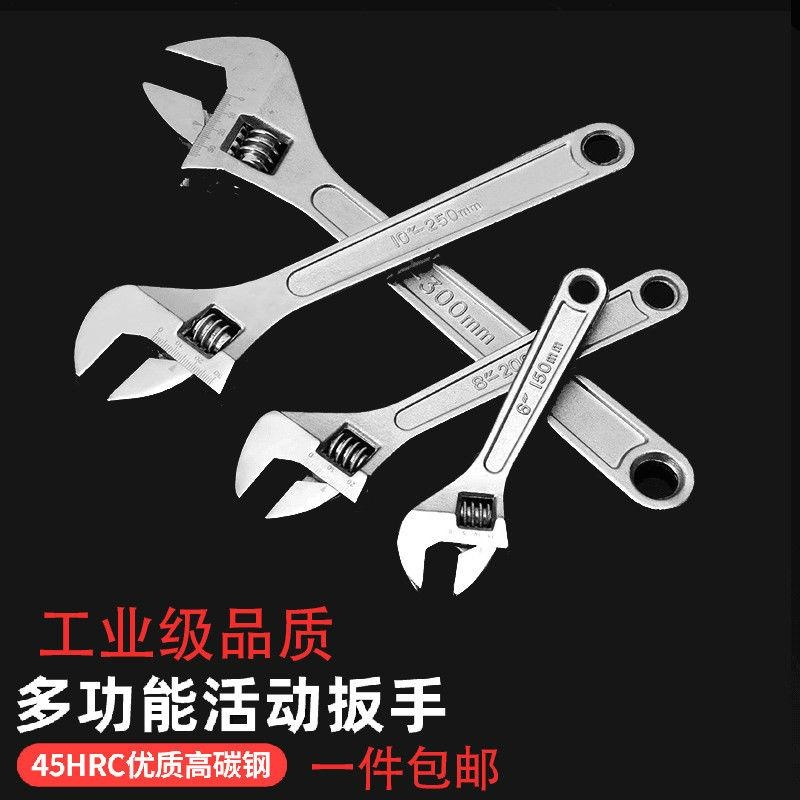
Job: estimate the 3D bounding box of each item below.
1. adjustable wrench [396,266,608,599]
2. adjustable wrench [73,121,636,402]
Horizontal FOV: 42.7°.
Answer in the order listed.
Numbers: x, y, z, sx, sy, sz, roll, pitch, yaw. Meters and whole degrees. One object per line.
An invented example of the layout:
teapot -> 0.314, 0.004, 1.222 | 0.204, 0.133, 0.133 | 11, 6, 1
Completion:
adjustable wrench -> 0.241, 0.042, 2.317 | 0.256, 0.081, 1.066 | 25, 69, -7
adjustable wrench -> -0.014, -0.266, 2.334 | 1.149, 0.105, 0.307 | -25, 72, -2
